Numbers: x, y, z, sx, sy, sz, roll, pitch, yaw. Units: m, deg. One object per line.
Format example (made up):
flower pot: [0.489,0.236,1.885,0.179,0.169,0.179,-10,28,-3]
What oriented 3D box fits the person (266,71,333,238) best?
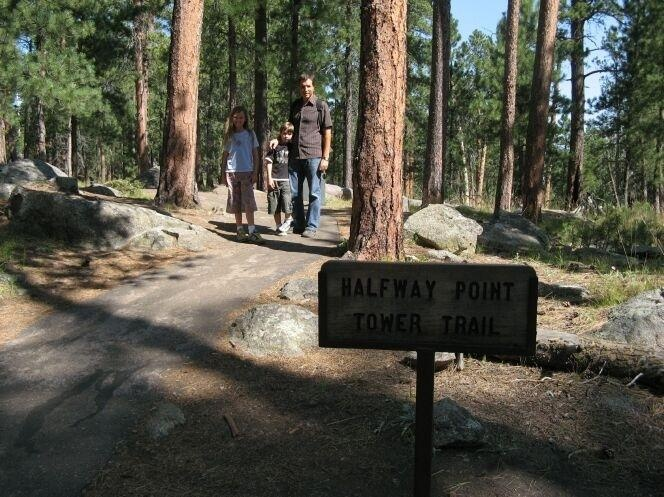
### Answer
person: [-0.418,-1.602,11.151,0.778,2.834,1.133,1,7,-5]

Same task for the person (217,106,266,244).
person: [-1.575,-1.304,10.994,0.638,2.334,0.363,0,7,-13]
